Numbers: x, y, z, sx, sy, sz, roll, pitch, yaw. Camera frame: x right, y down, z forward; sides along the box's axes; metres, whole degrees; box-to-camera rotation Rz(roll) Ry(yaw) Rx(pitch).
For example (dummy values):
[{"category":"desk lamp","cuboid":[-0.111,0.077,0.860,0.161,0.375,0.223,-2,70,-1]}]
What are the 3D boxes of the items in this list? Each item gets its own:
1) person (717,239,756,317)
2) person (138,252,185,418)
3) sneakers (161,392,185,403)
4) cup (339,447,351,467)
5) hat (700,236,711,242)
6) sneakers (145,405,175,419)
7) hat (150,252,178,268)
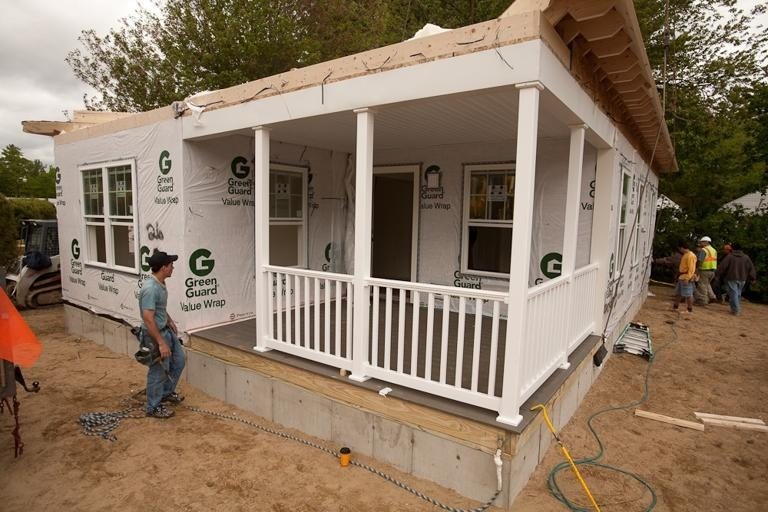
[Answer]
[{"category":"person","cuboid":[9.880,0.710,14.219,0.988,1.861,0.651,-4,7,-41]},{"category":"person","cuboid":[-3.553,1.259,8.092,0.655,2.682,0.437,-4,7,-41]},{"category":"sneakers","cuboid":[-3.514,2.382,8.473,0.377,0.187,0.142,0,7,-7]},{"category":"cup","cuboid":[-0.557,2.891,7.183,0.212,0.252,0.218,0,-3,0]},{"category":"hat","cuboid":[9.774,-0.497,15.368,0.352,0.174,0.276,3,10,7]},{"category":"sneakers","cuboid":[-3.567,2.522,8.146,0.444,0.218,0.180,1,0,1]},{"category":"hat","cuboid":[-3.451,0.077,7.904,0.355,0.204,0.235,-21,27,-34]}]
